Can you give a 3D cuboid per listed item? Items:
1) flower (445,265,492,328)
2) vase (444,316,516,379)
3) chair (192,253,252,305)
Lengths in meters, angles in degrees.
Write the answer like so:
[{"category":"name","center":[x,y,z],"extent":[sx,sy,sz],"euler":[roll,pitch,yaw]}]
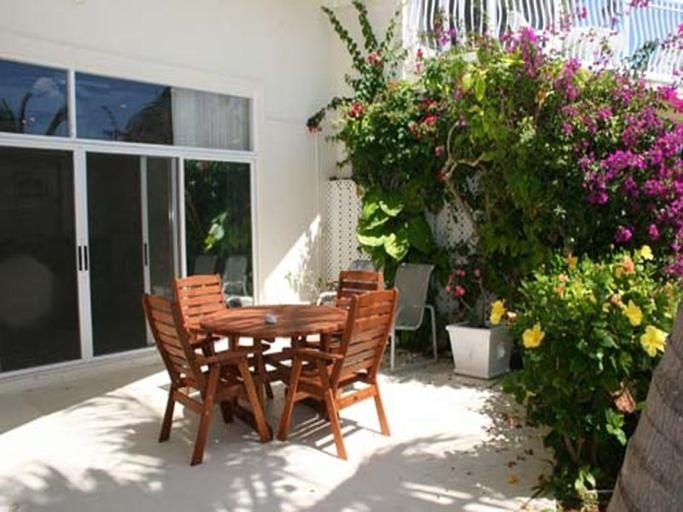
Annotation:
[{"category":"flower","center":[1.500,0.452,6.683],"extent":[0.563,0.935,0.682],"euler":[3,6,27]},{"category":"vase","center":[1.650,0.989,6.258],"extent":[0.566,0.587,0.685],"euler":[0,2,36]},{"category":"chair","center":[-1.846,0.322,8.075],"extent":[0.536,1.143,0.703],"euler":[1,-3,-32]}]
